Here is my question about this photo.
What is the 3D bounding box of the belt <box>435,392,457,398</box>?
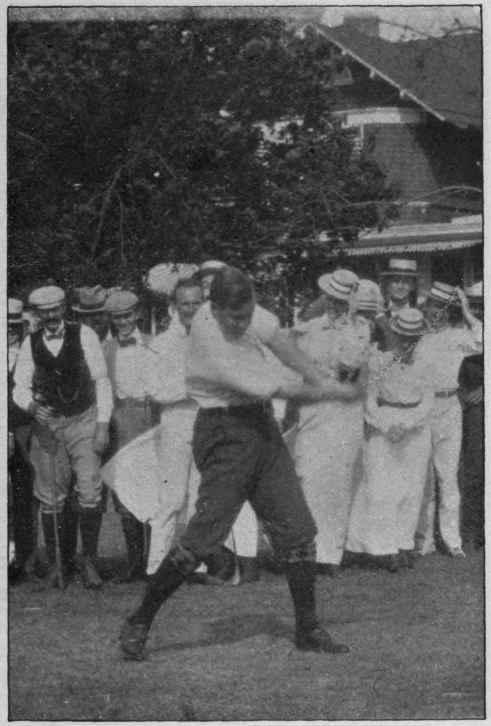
[{"bbox_3d":[0.939,0.149,4.956,0.119,0.030,0.028,1,11,0],"label":"belt"}]

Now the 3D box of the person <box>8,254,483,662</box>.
[{"bbox_3d":[0.188,0.480,4.891,1.334,1.725,0.785,3,19,8],"label":"person"}]

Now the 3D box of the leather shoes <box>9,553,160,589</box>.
[{"bbox_3d":[-0.785,0.985,4.931,0.650,0.126,0.053,1,19,1],"label":"leather shoes"}]

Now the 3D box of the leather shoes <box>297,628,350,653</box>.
[{"bbox_3d":[0.339,1.294,4.975,0.284,0.158,0.089,-2,5,-6],"label":"leather shoes"}]

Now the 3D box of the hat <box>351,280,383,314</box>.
[{"bbox_3d":[0.572,-0.311,4.966,0.145,0.097,0.161,-3,3,-37],"label":"hat"}]

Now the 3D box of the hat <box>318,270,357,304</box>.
[{"bbox_3d":[0.428,-0.370,4.971,0.160,0.160,0.043,36,-18,9],"label":"hat"}]

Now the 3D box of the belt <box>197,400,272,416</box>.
[{"bbox_3d":[-0.045,0.223,4.937,0.338,0.059,0.031,0,19,-4],"label":"belt"}]
